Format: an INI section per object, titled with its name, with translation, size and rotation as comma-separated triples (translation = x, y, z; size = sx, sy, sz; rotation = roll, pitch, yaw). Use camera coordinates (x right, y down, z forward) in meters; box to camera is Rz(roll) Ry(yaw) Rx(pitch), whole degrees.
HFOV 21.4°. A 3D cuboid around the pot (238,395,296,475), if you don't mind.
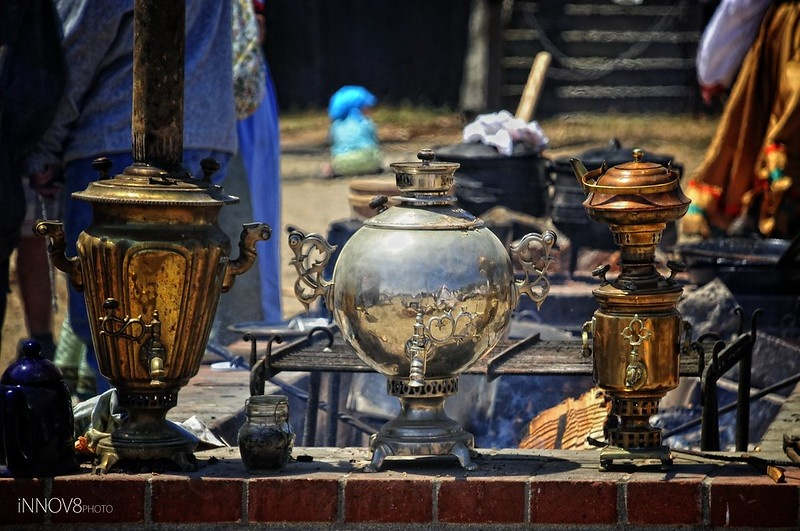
[pot]
translation = -0.672, 0.832, 10.538
size = 0.289, 0.342, 0.273
rotation = 3, 7, 0
